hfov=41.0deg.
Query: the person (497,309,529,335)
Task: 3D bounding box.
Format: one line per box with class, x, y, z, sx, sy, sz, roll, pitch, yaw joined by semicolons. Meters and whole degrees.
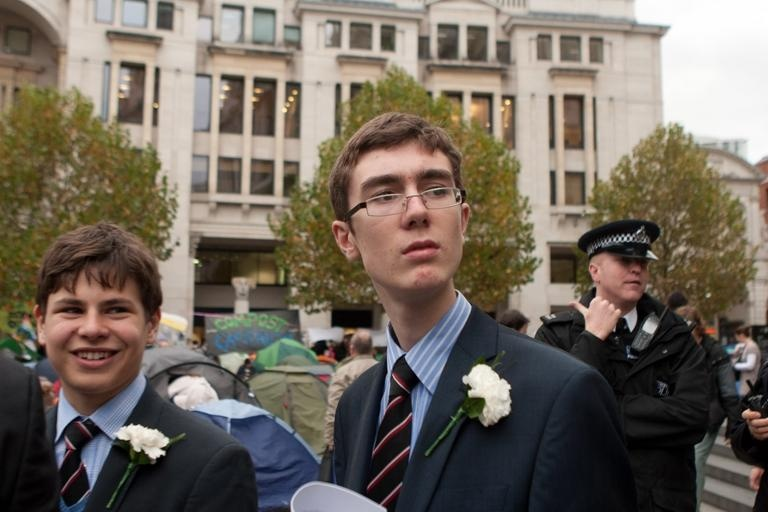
person;4.052;2.006;31.556;0.834;1.047;1.089;-1;-1;45
